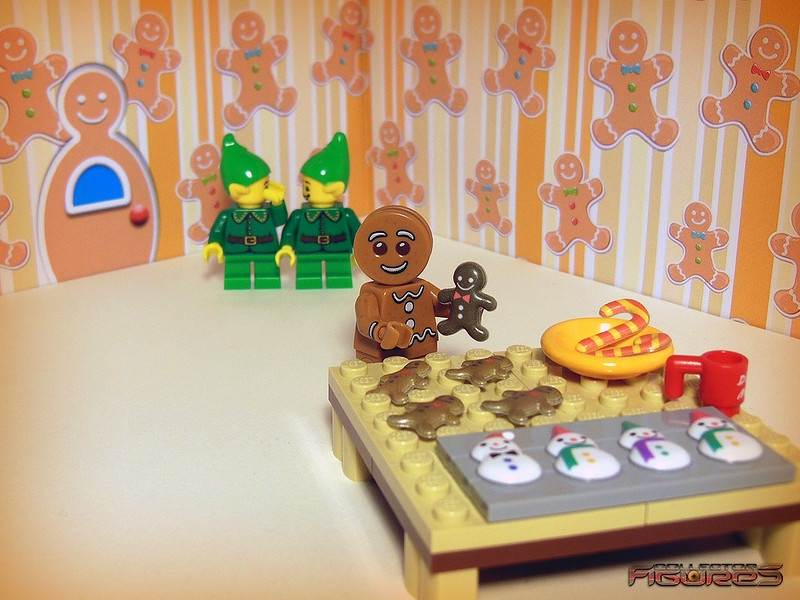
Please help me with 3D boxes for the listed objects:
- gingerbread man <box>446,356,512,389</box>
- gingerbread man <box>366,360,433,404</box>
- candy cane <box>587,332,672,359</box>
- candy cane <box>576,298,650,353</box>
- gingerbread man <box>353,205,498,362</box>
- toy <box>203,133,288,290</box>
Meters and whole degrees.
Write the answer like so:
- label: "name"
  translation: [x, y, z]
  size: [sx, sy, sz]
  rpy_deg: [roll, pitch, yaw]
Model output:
- label: "gingerbread man"
  translation: [0.271, 0.236, 2.186]
  size: [0.176, 0.057, 0.209]
  rpy_deg: [7, 18, 29]
- label: "gingerbread man"
  translation: [0.007, 0.246, 2.117]
  size: [0.154, 0.224, 0.046]
  rpy_deg: [28, 29, -19]
- label: "candy cane"
  translation: [0.752, 0.155, 2.137]
  size: [0.195, 0.033, 0.115]
  rpy_deg: [-4, 22, 5]
- label: "candy cane"
  translation: [0.684, 0.081, 2.274]
  size: [0.228, 0.201, 0.206]
  rpy_deg: [2, 19, -18]
- label: "gingerbread man"
  translation: [0.077, -0.044, 2.497]
  size: [0.530, 0.617, 0.267]
  rpy_deg: [-3, 16, -4]
- label: "toy"
  translation: [-0.928, -0.497, 3.941]
  size: [0.509, 0.850, 0.337]
  rpy_deg: [-3, 11, -20]
